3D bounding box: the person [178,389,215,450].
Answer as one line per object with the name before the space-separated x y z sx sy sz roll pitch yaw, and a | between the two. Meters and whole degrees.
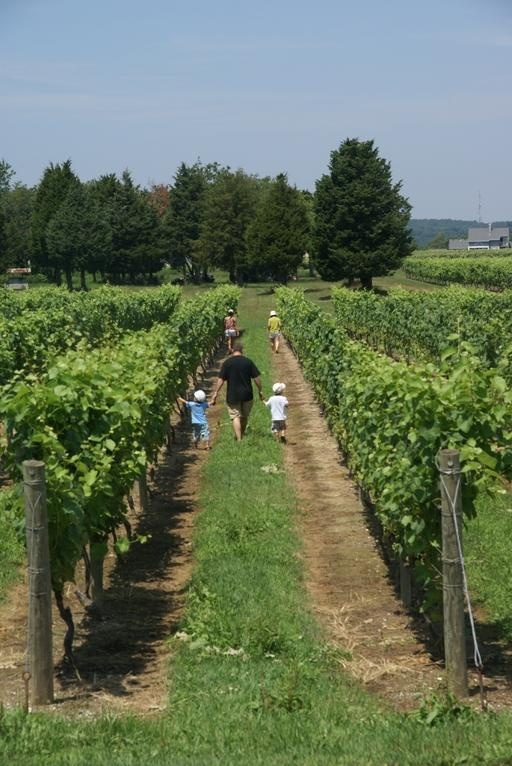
person | -1.304 0.829 17.429 1.146 1.372 0.482 -1 28 3
